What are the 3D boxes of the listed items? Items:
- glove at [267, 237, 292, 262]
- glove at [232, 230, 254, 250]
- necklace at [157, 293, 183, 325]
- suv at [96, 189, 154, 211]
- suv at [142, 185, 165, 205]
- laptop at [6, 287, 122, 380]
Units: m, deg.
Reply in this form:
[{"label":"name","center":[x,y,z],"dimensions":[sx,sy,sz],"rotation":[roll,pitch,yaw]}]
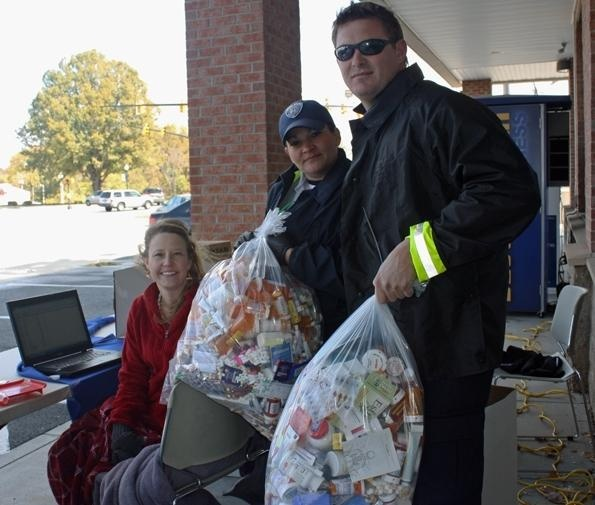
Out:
[{"label":"glove","center":[-0.075,-0.020,2.057],"dimensions":[0.066,0.052,0.118],"rotation":[14,28,-36]},{"label":"glove","center":[-0.230,-0.060,2.227],"dimensions":[0.032,0.091,0.084],"rotation":[22,-24,-36]},{"label":"necklace","center":[-0.659,0.287,2.697],"dimensions":[0.101,0.161,0.057],"rotation":[5,-10,26]},{"label":"suv","center":[-9.822,-3.058,29.979],"dimensions":[2.776,1.175,1.450],"rotation":[-9,10,-44]},{"label":"suv","center":[-9.580,-3.939,35.068],"dimensions":[1.172,1.277,2.491],"rotation":[-2,1,-18]},{"label":"laptop","center":[-1.306,0.481,2.971],"dimensions":[0.451,0.412,0.534],"rotation":[6,10,24]}]
